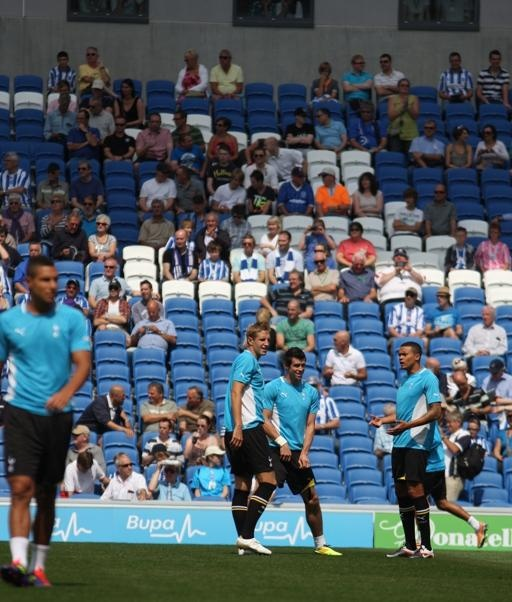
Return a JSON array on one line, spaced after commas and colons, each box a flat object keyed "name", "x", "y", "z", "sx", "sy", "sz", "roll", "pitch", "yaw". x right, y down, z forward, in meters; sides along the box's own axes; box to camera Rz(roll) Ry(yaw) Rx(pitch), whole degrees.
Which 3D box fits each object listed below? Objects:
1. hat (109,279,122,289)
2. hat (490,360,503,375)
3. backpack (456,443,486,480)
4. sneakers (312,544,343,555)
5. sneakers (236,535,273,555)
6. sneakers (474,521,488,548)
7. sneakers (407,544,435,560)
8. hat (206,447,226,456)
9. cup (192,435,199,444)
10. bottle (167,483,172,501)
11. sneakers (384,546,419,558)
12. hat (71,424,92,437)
[{"name": "hat", "x": -1.712, "y": -0.202, "z": 24.072, "sx": 0.113, "sy": 0.101, "sz": 0.198, "roll": 4, "pitch": -14, "yaw": 0}, {"name": "hat", "x": 2.857, "y": 0.813, "z": 23.357, "sx": 0.167, "sy": 0.207, "sz": 0.170, "roll": 1, "pitch": 7, "yaw": 6}, {"name": "backpack", "x": 2.393, "y": 1.822, "z": 22.020, "sx": 0.195, "sy": 0.410, "sz": 0.290, "roll": 4, "pitch": -15, "yaw": 37}, {"name": "sneakers", "x": 0.699, "y": 2.466, "z": 19.103, "sx": 0.272, "sy": 0.135, "sz": 0.099, "roll": 1, "pitch": 4, "yaw": 12}, {"name": "sneakers", "x": -0.004, "y": 2.382, "z": 18.843, "sx": 0.353, "sy": 0.184, "sz": 0.143, "roll": 4, "pitch": 3, "yaw": -3}, {"name": "sneakers", "x": 2.233, "y": 2.336, "z": 19.359, "sx": 0.126, "sy": 0.282, "sz": 0.096, "roll": 2, "pitch": -4, "yaw": 6}, {"name": "sneakers", "x": 1.608, "y": 2.489, "z": 19.087, "sx": 0.229, "sy": 0.112, "sz": 0.267, "roll": 2, "pitch": 8, "yaw": 16}, {"name": "hat", "x": -0.449, "y": 1.703, "z": 21.849, "sx": 0.215, "sy": 0.124, "sz": 0.242, "roll": 0, "pitch": 7, "yaw": -2}, {"name": "cup", "x": -0.677, "y": 1.601, "z": 22.138, "sx": 0.075, "sy": 0.122, "sz": 0.060, "roll": 14, "pitch": -28, "yaw": -35}, {"name": "bottle", "x": -0.943, "y": 2.140, "z": 21.652, "sx": 0.059, "sy": 0.143, "sz": 0.103, "roll": -1, "pitch": 7, "yaw": -3}, {"name": "sneakers", "x": 1.417, "y": 2.488, "z": 19.124, "sx": 0.321, "sy": 0.153, "sz": 0.117, "roll": 2, "pitch": -6, "yaw": 1}, {"name": "hat", "x": -1.946, "y": 1.463, "z": 21.865, "sx": 0.159, "sy": 0.098, "sz": 0.117, "roll": 20, "pitch": -3, "yaw": -3}]
